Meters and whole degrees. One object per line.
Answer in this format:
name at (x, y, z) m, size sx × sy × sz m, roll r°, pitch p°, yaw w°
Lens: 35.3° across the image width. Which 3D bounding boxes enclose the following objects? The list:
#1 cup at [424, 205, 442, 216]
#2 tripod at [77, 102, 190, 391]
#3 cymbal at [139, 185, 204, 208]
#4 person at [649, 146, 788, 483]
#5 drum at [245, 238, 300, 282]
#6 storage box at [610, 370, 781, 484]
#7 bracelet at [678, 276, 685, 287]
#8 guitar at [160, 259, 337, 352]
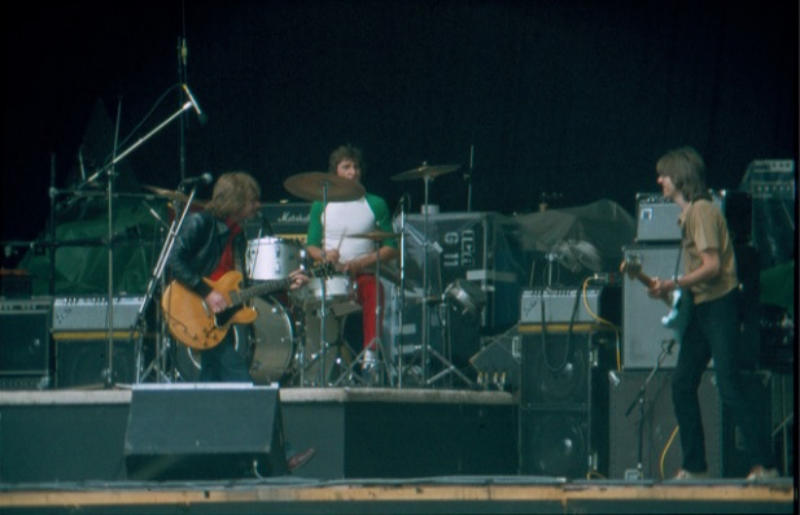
cup at (0.390, -0.550, 14.591) m, size 0.170 × 0.124 × 0.168 m, roll 0°, pitch -1°, yaw 0°
tripod at (-2.992, -0.069, 14.021) m, size 0.814 × 3.175 × 0.842 m, roll 7°, pitch -8°, yaw 29°
cymbal at (-2.590, -0.688, 14.175) m, size 0.836 × 0.150 × 0.159 m, roll 24°, pitch -34°, yaw -30°
person at (2.865, 0.536, 11.653) m, size 1.127 × 3.112 × 0.921 m, roll -7°, pitch -12°, yaw 43°
drum at (-1.309, 0.020, 13.037) m, size 0.464 × 0.336 × 0.473 m, roll 1°, pitch 0°, yaw 0°
storage box at (2.656, 1.652, 12.159) m, size 1.704 × 1.017 × 1.027 m, roll -2°, pitch 0°, yaw -17°
bracelet at (2.589, 0.225, 11.605) m, size 0.043 × 0.091 × 0.069 m, roll 3°, pitch 7°, yaw -2°
guitar at (-1.788, 0.524, 12.259) m, size 1.906 × 1.008 × 0.717 m, roll -1°, pitch -1°, yaw 1°
